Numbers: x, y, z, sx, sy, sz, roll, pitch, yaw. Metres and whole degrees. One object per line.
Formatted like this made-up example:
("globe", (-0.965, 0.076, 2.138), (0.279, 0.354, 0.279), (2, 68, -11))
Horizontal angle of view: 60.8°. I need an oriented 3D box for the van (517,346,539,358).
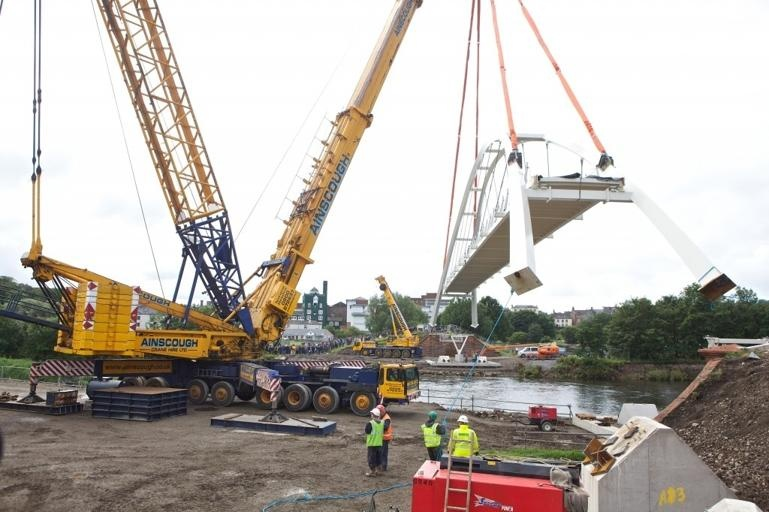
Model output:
("van", (17.515, 11.860, 80.343), (2.221, 1.013, 1.156), (1, -5, 17))
